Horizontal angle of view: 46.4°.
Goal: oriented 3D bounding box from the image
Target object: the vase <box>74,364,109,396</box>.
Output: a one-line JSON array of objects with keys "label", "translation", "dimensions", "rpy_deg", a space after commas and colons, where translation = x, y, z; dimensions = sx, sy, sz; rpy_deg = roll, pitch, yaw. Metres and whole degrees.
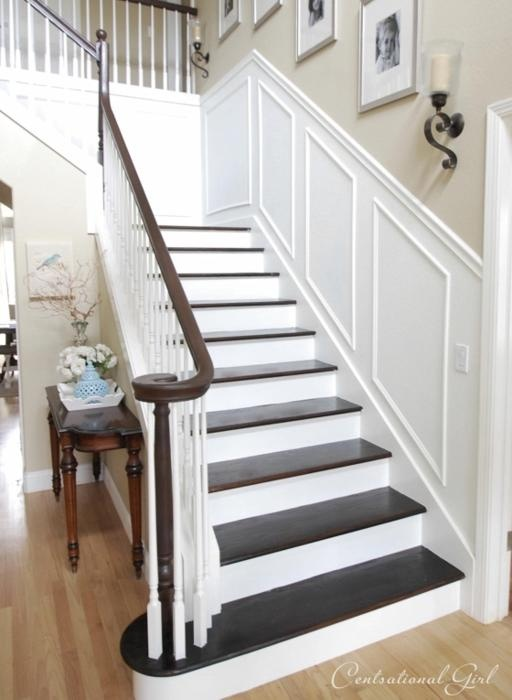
[{"label": "vase", "translation": [-0.868, 0.146, 3.153], "dimensions": [0.152, 0.197, 0.158], "rpy_deg": [1, 0, -27]}]

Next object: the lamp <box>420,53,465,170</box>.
[{"label": "lamp", "translation": [0.651, -0.828, 2.089], "dimensions": [0.107, 0.381, 0.096], "rpy_deg": [10, 19, 29]}]

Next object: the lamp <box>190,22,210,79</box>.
[{"label": "lamp", "translation": [-0.462, -2.448, 4.892], "dimensions": [0.133, 0.483, 0.066], "rpy_deg": [1, -9, -11]}]

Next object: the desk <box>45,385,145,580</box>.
[{"label": "desk", "translation": [-0.868, 0.619, 3.150], "dimensions": [0.330, 0.709, 1.047], "rpy_deg": [1, 8, -23]}]

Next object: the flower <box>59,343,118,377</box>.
[{"label": "flower", "translation": [-0.906, 0.053, 3.128], "dimensions": [0.200, 0.148, 0.212], "rpy_deg": [-2, 4, 29]}]
